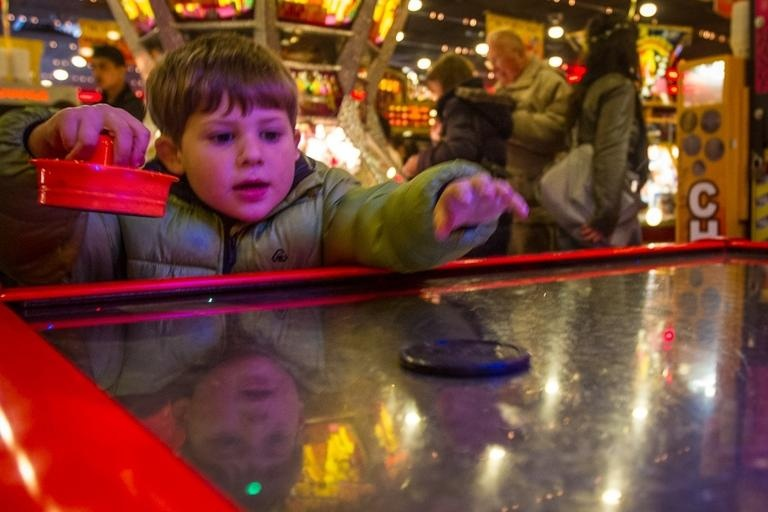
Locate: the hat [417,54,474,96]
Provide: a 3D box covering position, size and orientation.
[{"bbox_3d":[0.334,-0.988,3.450,0.206,0.278,0.268,-10,31,-9],"label":"hat"}]
